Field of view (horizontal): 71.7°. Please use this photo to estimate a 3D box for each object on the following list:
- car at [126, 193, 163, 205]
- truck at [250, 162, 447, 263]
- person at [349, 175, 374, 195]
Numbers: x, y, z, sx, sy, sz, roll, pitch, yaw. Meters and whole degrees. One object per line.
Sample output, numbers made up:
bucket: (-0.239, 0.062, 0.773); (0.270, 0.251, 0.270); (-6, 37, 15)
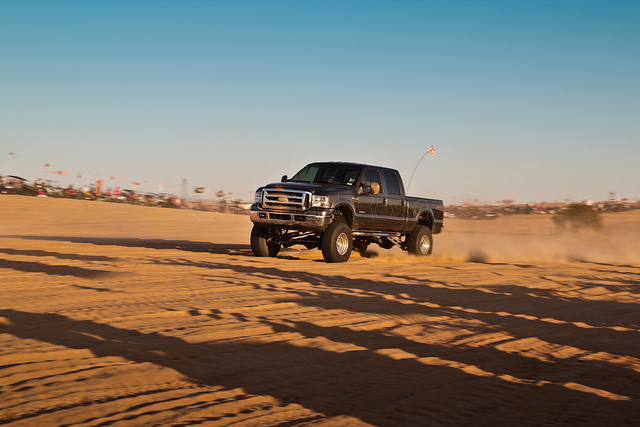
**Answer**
car: (-14.572, -1.020, 36.880); (3.166, 0.530, 1.695); (4, 11, 17)
truck: (1.179, -0.187, 16.204); (3.623, 1.928, 6.863); (11, 9, 42)
person: (1.409, -0.873, 14.560); (0.877, 0.556, 0.477); (0, -6, 17)
